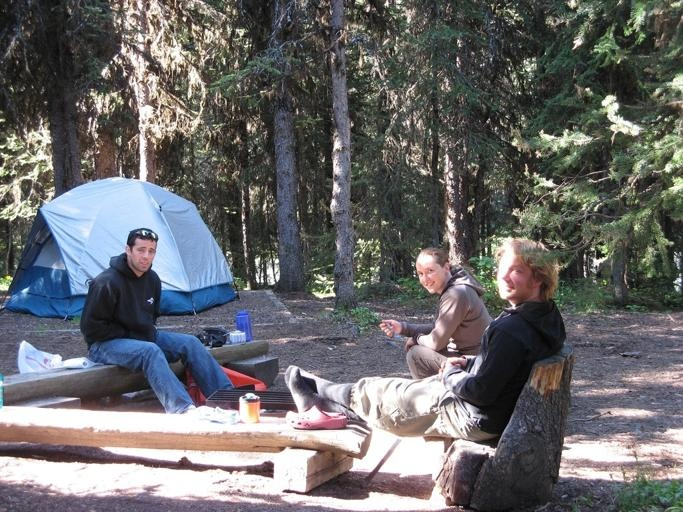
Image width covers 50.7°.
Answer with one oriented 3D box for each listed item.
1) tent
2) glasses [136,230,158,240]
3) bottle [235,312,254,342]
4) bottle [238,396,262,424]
[{"bbox_3d":[-4.346,-0.271,14.811,3.349,2.514,2.896,2,-2,-41],"label":"tent"},{"bbox_3d":[-2.509,-0.290,9.177,0.172,0.066,0.133,-14,-22,36],"label":"glasses"},{"bbox_3d":[-1.425,1.028,10.605,0.205,0.404,0.522,-1,0,-7],"label":"bottle"},{"bbox_3d":[-1.038,1.705,8.081,0.241,0.307,0.253,0,3,0],"label":"bottle"}]
